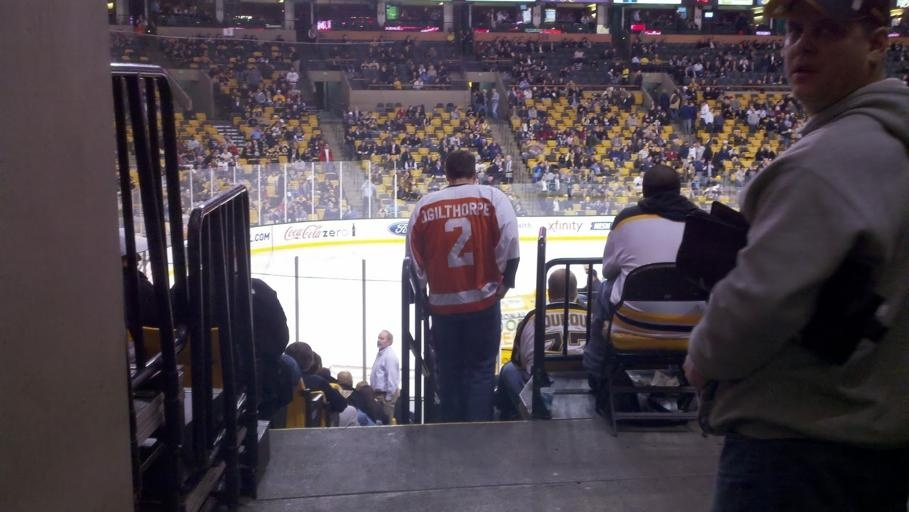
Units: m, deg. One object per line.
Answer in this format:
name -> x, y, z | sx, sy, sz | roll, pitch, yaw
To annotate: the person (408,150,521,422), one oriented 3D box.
person -> 0.062, 0.285, 5.389 | 0.624, 1.353, 0.362 | -3, 18, -3
